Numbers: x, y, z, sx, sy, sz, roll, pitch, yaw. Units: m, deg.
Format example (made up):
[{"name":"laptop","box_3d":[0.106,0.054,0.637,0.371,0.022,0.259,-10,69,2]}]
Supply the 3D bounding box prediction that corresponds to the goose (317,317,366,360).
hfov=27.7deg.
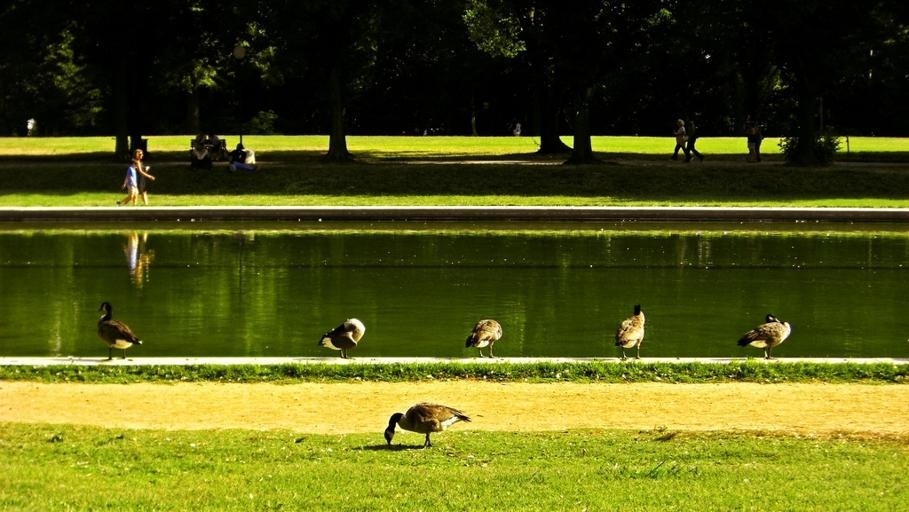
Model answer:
[{"name":"goose","box_3d":[-4.375,3.234,71.610,2.060,1.380,1.065,0,11,8]}]

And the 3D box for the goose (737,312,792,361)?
[{"name":"goose","box_3d":[12.424,3.159,72.304,2.407,2.237,1.232,0,-1,12]}]

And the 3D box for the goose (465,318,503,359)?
[{"name":"goose","box_3d":[1.139,3.120,71.726,0.996,1.458,1.948,9,2,27]}]

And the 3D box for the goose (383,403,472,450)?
[{"name":"goose","box_3d":[-0.964,6.326,67.669,3.292,1.333,1.316,-11,-7,7]}]

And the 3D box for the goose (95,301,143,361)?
[{"name":"goose","box_3d":[-13.235,2.890,72.085,1.554,1.931,2.615,-3,14,-11]}]
